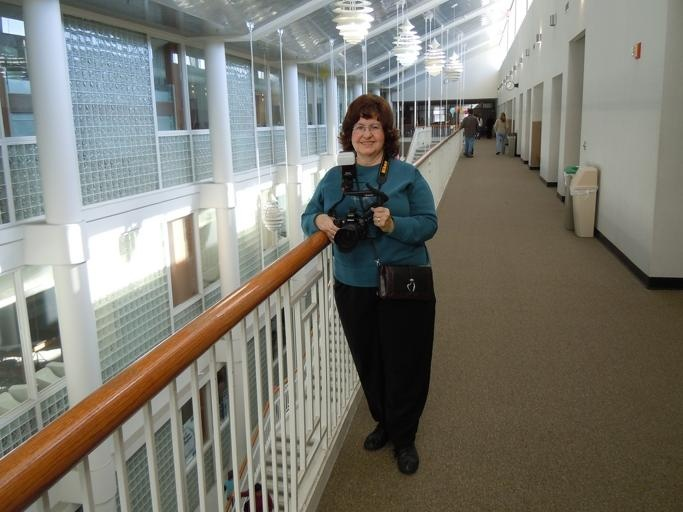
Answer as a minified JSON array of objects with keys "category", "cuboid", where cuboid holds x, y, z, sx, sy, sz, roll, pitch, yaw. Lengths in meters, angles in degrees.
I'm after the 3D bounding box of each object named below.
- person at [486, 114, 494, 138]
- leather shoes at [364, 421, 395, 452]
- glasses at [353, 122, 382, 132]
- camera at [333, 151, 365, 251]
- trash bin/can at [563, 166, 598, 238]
[{"category":"person","cuboid":[10.906,-9.385,36.028,0.563,1.444,2.839,3,17,16]},{"category":"leather shoes","cuboid":[0.220,1.020,2.763,0.074,0.103,0.237,-1,-23,24]},{"category":"glasses","cuboid":[0.139,-0.650,2.475,0.144,0.077,0.042,0,14,1]},{"category":"camera","cuboid":[0.050,-0.269,2.458,0.187,0.482,0.281,-1,14,-1]},{"category":"trash bin/can","cuboid":[3.632,-0.823,7.381,0.407,0.966,0.543,2,14,12]}]
